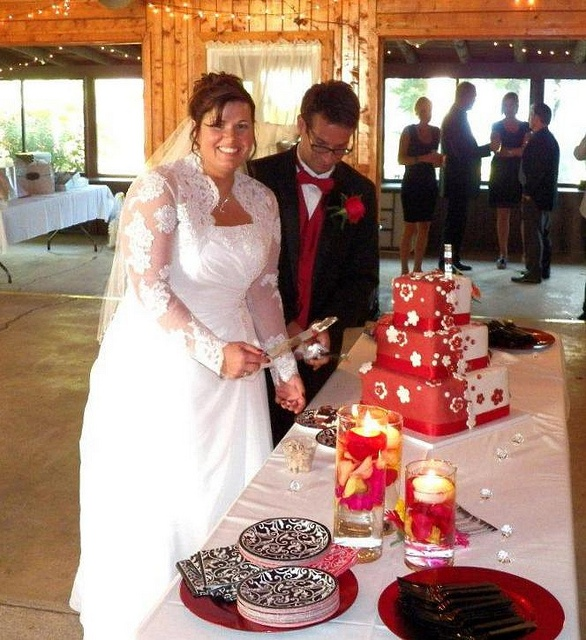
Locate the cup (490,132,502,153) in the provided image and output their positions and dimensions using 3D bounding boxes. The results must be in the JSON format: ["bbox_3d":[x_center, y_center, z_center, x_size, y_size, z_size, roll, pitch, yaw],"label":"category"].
[{"bbox_3d":[3.070,-2.674,8.578,0.090,0.255,0.195,2,48,22],"label":"cup"}]

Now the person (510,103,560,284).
[{"bbox_3d":[3.339,-1.687,7.813,0.487,2.371,0.659,5,12,23],"label":"person"}]

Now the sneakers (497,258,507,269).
[{"bbox_3d":[3.248,-0.886,8.871,0.141,0.177,0.264,4,11,20],"label":"sneakers"}]

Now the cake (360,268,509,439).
[{"bbox_3d":[0.446,0.060,1.838,0.480,0.448,0.490,-15,22,-31],"label":"cake"}]

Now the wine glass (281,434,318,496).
[{"bbox_3d":[0.014,0.354,1.412,0.094,0.082,0.088,1,5,0],"label":"wine glass"}]

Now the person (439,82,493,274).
[{"bbox_3d":[2.326,-1.971,7.977,0.563,2.443,0.701,7,12,31],"label":"person"}]

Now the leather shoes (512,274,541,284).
[{"bbox_3d":[3.267,-0.567,8.033,0.419,0.154,0.152,5,5,11],"label":"leather shoes"}]

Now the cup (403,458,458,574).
[{"bbox_3d":[0.223,0.330,0.940,0.088,0.199,0.120,3,11,15],"label":"cup"}]

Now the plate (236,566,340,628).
[{"bbox_3d":[-0.006,0.399,0.816,0.144,0.047,0.096,1,10,5],"label":"plate"}]

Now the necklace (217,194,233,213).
[{"bbox_3d":[-0.218,-0.374,1.827,0.013,0.047,0.051,37,65,22],"label":"necklace"}]

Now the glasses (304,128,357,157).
[{"bbox_3d":[0.155,-0.730,2.357,0.180,0.098,0.151,-1,10,-10],"label":"glasses"}]
